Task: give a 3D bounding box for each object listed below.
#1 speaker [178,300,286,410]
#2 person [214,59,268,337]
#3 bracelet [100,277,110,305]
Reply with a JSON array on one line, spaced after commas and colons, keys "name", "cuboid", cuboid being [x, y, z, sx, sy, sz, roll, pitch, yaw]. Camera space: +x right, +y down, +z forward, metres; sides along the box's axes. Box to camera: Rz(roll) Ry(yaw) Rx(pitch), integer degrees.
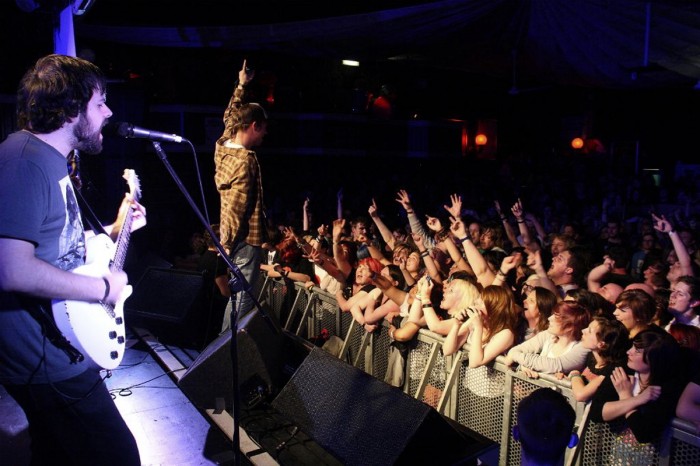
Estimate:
[{"name": "speaker", "cuboid": [-1.091, 1.150, 4.402, 0.672, 0.823, 0.867, 2, 3, -10]}, {"name": "person", "cuboid": [-1.015, -0.505, 4.398, 0.502, 2.110, 0.349, 6, 3, 40]}, {"name": "bracelet", "cuboid": [-1.395, 0.327, 2.727, 0.029, 0.112, 0.115, -2, 19, -15]}]
